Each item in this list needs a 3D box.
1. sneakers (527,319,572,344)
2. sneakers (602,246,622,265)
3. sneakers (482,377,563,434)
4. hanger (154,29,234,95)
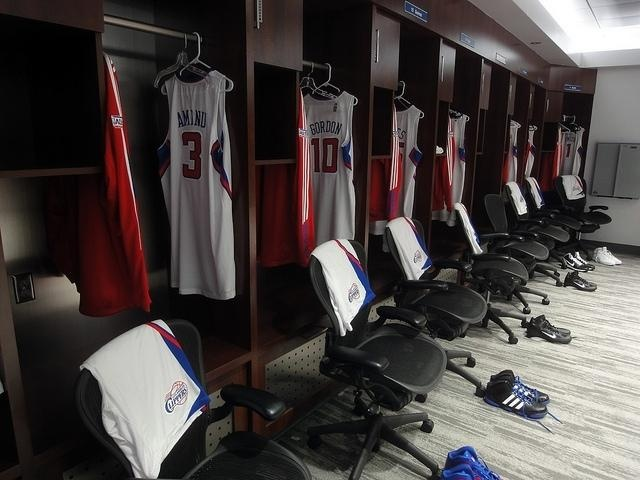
[{"bbox_3d":[2.022,0.818,3.858,0.335,0.213,0.182,1,16,22],"label":"sneakers"},{"bbox_3d":[4.333,0.246,6.453,0.115,0.153,0.330,-21,31,-39],"label":"sneakers"},{"bbox_3d":[1.356,1.069,2.896,0.188,0.228,0.528,-2,2,-36],"label":"sneakers"},{"bbox_3d":[-0.663,-0.960,2.338,0.400,0.269,0.017,9,14,27],"label":"hanger"}]
